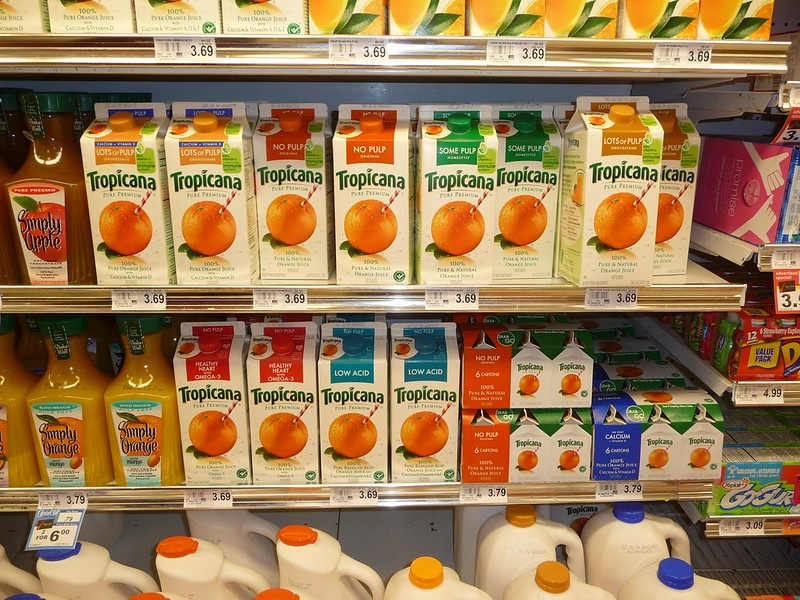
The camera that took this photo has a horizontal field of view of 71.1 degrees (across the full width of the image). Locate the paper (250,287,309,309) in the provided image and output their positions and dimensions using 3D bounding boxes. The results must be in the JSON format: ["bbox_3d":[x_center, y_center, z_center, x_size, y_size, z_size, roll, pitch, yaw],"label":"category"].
[{"bbox_3d":[-0.370,-0.005,1.712,0.135,0.030,0.069,0,28,2],"label":"paper"}]

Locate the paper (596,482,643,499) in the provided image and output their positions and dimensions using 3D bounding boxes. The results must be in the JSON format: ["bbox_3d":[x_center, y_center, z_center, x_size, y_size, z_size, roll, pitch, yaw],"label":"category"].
[{"bbox_3d":[0.741,0.645,1.879,0.101,0.075,0.024,2,0,0],"label":"paper"}]

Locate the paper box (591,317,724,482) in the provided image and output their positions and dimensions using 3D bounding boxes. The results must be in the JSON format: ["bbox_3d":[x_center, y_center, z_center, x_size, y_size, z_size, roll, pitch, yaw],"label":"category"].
[{"bbox_3d":[0.836,0.377,1.929,0.401,0.380,0.256,3,3,-18],"label":"paper box"}]

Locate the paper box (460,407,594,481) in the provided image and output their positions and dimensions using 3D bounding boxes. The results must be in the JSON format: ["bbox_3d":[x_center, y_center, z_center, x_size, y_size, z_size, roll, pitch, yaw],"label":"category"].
[{"bbox_3d":[0.457,0.531,1.950,0.421,0.260,0.228,-4,-29,18],"label":"paper box"}]

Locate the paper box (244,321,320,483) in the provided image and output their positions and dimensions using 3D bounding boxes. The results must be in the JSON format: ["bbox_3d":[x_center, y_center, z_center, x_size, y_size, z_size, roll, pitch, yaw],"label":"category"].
[{"bbox_3d":[-0.389,0.346,1.923,0.231,0.523,0.198,0,17,0],"label":"paper box"}]

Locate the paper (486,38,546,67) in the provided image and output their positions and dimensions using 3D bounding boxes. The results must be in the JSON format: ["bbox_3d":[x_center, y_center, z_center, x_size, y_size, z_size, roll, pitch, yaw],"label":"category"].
[{"bbox_3d":[0.328,-0.701,1.528,0.145,0.076,0.033,1,4,-2],"label":"paper"}]

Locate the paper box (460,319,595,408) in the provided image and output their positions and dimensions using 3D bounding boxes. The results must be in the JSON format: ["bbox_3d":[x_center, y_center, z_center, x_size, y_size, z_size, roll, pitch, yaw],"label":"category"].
[{"bbox_3d":[0.419,0.229,1.851,0.459,0.280,0.251,0,18,0],"label":"paper box"}]
